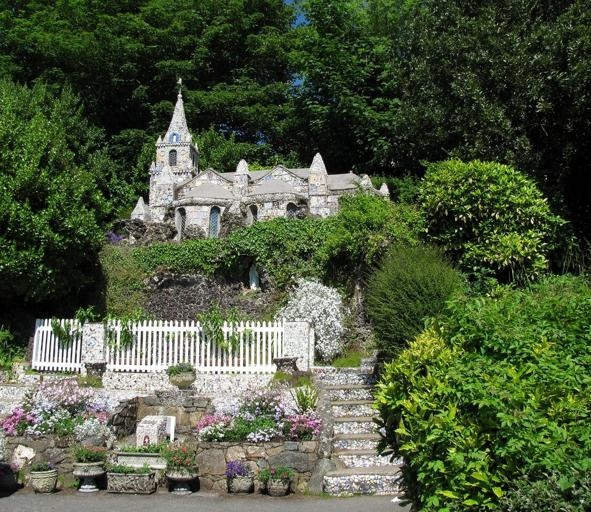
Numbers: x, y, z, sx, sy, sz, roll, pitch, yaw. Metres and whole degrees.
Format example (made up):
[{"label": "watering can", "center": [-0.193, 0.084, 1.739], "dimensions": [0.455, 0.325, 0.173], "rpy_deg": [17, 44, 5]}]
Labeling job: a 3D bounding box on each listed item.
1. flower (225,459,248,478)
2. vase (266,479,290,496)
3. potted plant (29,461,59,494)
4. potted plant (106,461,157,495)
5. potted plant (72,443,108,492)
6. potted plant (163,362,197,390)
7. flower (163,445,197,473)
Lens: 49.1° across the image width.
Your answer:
[{"label": "flower", "center": [-1.261, 4.727, 14.292], "dimensions": [0.363, 0.393, 0.348], "rpy_deg": [0, 68, 1]}, {"label": "vase", "center": [-0.361, 4.944, 13.794], "dimensions": [0.345, 0.370, 0.239], "rpy_deg": [4, 64, -9]}, {"label": "potted plant", "center": [-5.465, 4.870, 14.253], "dimensions": [0.549, 0.614, 0.715], "rpy_deg": [-8, 62, -1]}, {"label": "potted plant", "center": [-3.563, 4.812, 14.192], "dimensions": [0.656, 0.334, 0.705], "rpy_deg": [1, -10, 2]}, {"label": "potted plant", "center": [-4.593, 4.750, 14.521], "dimensions": [0.790, 1.043, 0.785], "rpy_deg": [3, -9, -23]}, {"label": "potted plant", "center": [-2.919, 3.117, 16.543], "dimensions": [0.614, 0.602, 0.644], "rpy_deg": [25, 54, -40]}, {"label": "flower", "center": [-2.528, 4.459, 14.183], "dimensions": [0.542, 0.354, 0.518], "rpy_deg": [4, -1, -29]}]
